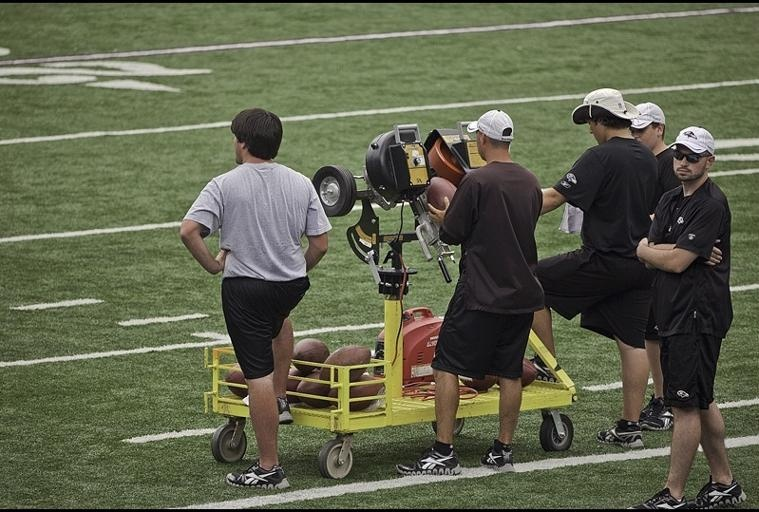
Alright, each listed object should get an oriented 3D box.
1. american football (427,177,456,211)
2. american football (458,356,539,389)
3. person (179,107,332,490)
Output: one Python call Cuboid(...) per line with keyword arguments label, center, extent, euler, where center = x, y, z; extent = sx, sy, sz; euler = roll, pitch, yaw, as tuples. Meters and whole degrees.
Cuboid(label="american football", center=(0.634, -0.665, 14.808), extent=(0.294, 0.256, 0.354), euler=(-15, -25, -8))
Cuboid(label="american football", center=(1.311, 1.262, 15.076), extent=(0.783, 0.304, 0.328), euler=(-5, 7, -7))
Cuboid(label="person", center=(-1.234, 0.379, 14.244), extent=(0.985, 3.684, 1.171), euler=(7, 13, 36))
